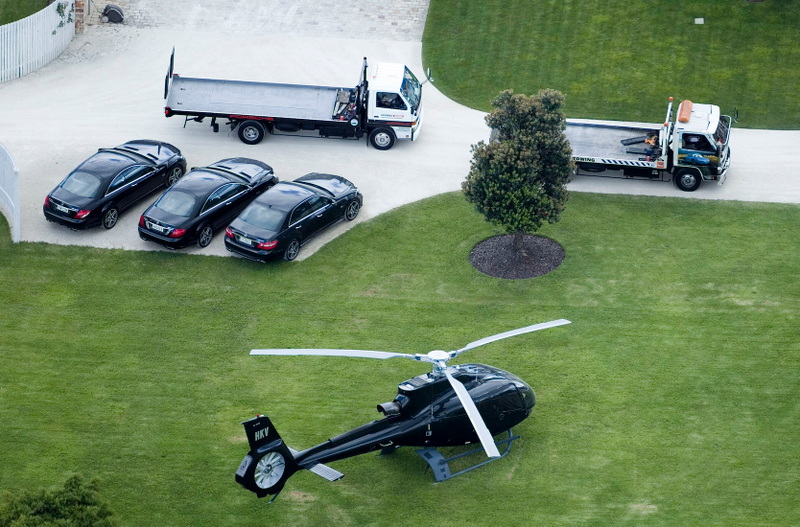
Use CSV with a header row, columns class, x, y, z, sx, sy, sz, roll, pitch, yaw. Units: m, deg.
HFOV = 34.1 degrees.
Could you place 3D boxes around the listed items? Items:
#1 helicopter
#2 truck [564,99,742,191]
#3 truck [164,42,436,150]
class,x,y,z,sx,sy,sz,roll,pitch,yaw
helicopter,0.569,4.475,45.067,12.860,5.825,8.680,-4,30,-8
truck,9.906,-4.685,56.149,7.620,2.601,2.788,3,8,6
truck,-4.312,-7.059,57.935,10.378,3.615,1.793,1,32,1
